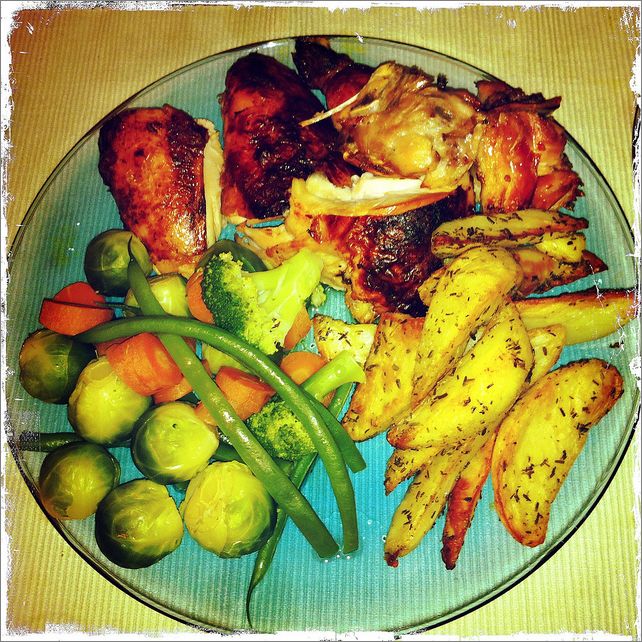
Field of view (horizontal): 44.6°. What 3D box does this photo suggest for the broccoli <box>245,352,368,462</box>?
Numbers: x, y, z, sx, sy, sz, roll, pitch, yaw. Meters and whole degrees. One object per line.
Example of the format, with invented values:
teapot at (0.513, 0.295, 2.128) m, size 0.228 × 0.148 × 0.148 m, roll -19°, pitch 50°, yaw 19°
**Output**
broccoli at (-0.048, 0.342, 3.110) m, size 0.292 × 0.231 × 0.510 m, roll 40°, pitch 88°, yaw 1°
